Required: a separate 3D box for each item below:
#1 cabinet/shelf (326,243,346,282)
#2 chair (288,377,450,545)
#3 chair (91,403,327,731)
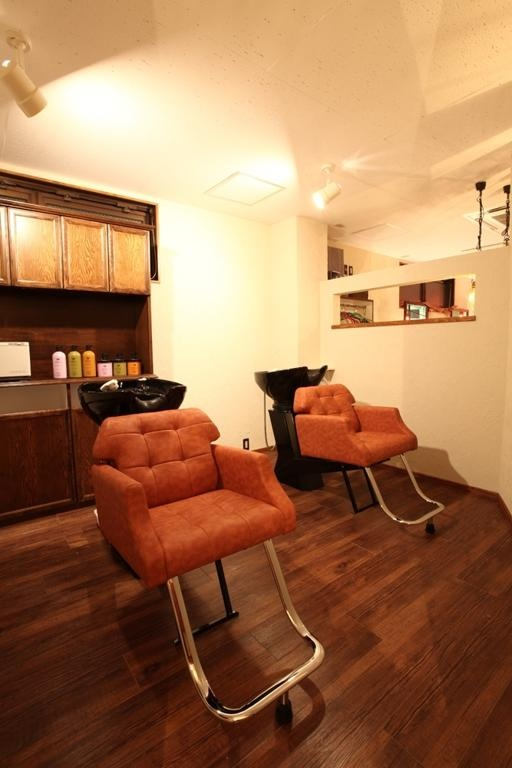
[{"bbox_3d":[0.801,-1.231,5.115,0.157,0.321,0.348,0,9,8],"label":"cabinet/shelf"},{"bbox_3d":[0.697,0.426,3.158,0.638,0.792,0.890,-5,7,-26],"label":"chair"},{"bbox_3d":[-0.196,0.568,1.834,0.634,0.788,0.995,-7,13,-25],"label":"chair"}]
